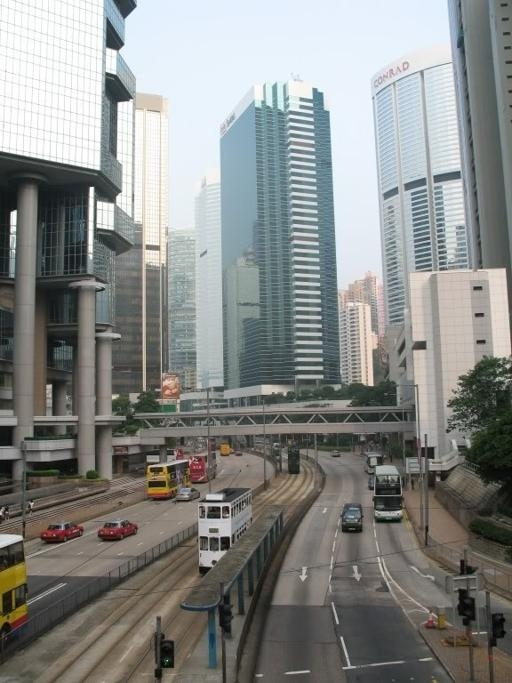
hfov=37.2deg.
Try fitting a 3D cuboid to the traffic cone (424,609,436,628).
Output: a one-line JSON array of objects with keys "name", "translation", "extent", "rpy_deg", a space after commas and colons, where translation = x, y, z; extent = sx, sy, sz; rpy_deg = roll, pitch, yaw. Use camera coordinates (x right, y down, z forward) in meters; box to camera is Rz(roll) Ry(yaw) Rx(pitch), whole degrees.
[{"name": "traffic cone", "translation": [7.464, 11.670, 32.257], "extent": [0.650, 0.757, 0.664], "rpy_deg": [3, -9, -10]}]

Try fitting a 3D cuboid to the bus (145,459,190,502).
[{"name": "bus", "translation": [-9.596, 14.675, 82.541], "extent": [3.340, 3.710, 12.610], "rpy_deg": [-5, -4, 5]}]

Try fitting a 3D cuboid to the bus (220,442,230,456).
[{"name": "bus", "translation": [-7.029, 23.705, 167.002], "extent": [1.679, 1.657, 2.929], "rpy_deg": [0, -13, -1]}]
